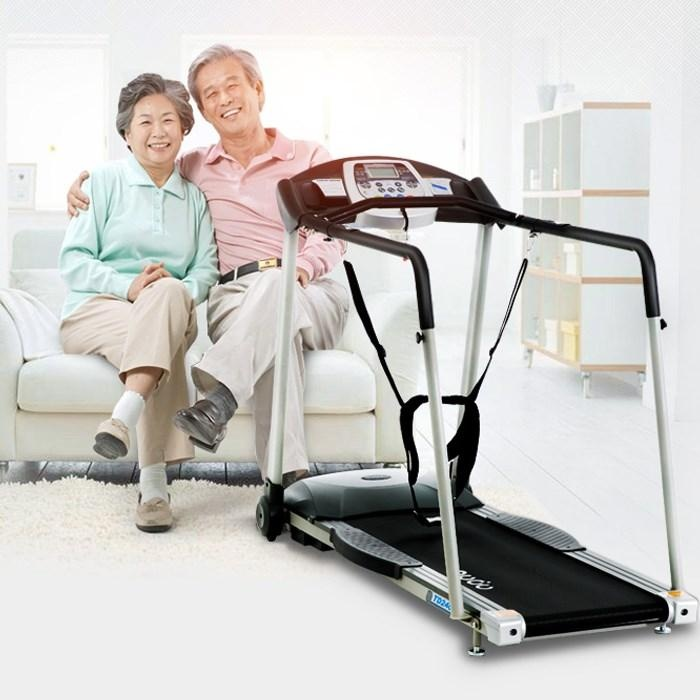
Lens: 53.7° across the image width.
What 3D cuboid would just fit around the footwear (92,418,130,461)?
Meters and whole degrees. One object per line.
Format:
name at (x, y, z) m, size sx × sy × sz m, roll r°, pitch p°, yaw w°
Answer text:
footwear at (-0.587, 0.234, 1.758) m, size 0.067 × 0.123 × 0.083 m, roll 29°, pitch 48°, yaw -12°

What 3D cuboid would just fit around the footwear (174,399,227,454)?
footwear at (-0.367, 0.192, 1.782) m, size 0.087 × 0.083 × 0.144 m, roll 29°, pitch -19°, yaw 21°

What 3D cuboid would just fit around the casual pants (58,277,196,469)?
casual pants at (-0.600, 0.004, 1.884) m, size 0.328 × 0.272 × 0.580 m, roll 6°, pitch 34°, yaw -21°

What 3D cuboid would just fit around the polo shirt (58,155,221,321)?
polo shirt at (-0.690, -0.343, 2.309) m, size 0.476 × 0.532 × 0.332 m, roll 7°, pitch 12°, yaw -24°

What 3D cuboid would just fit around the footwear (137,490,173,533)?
footwear at (-0.521, 0.424, 1.839) m, size 0.097 × 0.078 × 0.146 m, roll -1°, pitch 5°, yaw -14°

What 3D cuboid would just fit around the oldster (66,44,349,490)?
oldster at (-0.419, -0.247, 2.122) m, size 0.803 × 1.327 × 1.075 m, roll -4°, pitch 16°, yaw -2°

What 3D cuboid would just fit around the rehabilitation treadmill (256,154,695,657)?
rehabilitation treadmill at (0.312, 0.065, 1.709) m, size 0.697 × 1.025 × 1.218 m, roll -1°, pitch 5°, yaw -23°

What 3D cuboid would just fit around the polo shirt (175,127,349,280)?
polo shirt at (-0.338, -0.409, 2.439) m, size 0.693 × 0.653 × 0.424 m, roll 1°, pitch 39°, yaw -8°

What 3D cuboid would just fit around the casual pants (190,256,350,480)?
casual pants at (-0.223, -0.002, 1.994) m, size 0.381 × 0.274 × 0.624 m, roll -11°, pitch 34°, yaw 11°
